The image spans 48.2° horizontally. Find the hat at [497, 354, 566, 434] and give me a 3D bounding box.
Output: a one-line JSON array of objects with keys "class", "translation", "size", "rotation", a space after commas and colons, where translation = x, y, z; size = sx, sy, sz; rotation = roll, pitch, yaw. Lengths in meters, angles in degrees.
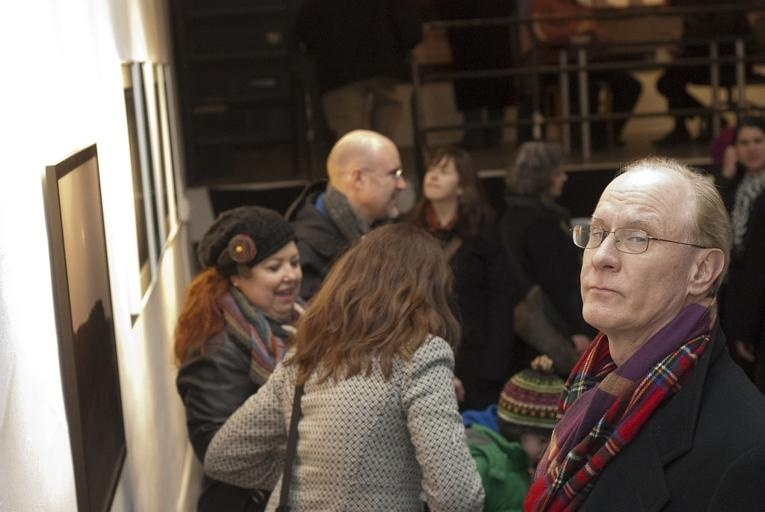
[{"class": "hat", "translation": [0.741, 0.677, 4.314], "size": [0.360, 0.357, 0.308], "rotation": [11, -1, -2]}]

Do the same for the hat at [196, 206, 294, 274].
[{"class": "hat", "translation": [-0.597, -0.069, 3.705], "size": [0.316, 0.214, 0.292], "rotation": [0, 10, 12]}]

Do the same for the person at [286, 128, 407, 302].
[{"class": "person", "translation": [-0.207, -0.211, 4.087], "size": [0.598, 0.793, 1.043], "rotation": [3, 26, -5]}]

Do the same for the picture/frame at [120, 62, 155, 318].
[{"class": "picture/frame", "translation": [-1.051, -0.327, 3.700], "size": [0.040, 0.902, 0.799], "rotation": [-5, 7, -18]}]
